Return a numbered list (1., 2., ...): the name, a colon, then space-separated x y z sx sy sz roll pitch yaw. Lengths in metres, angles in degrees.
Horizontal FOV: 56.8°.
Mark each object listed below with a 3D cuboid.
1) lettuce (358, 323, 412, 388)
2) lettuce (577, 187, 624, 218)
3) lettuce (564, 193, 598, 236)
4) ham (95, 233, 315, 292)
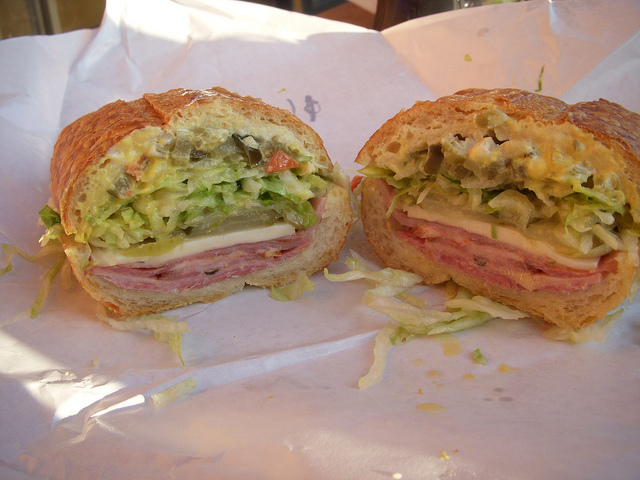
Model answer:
1. lettuce: 0.276 0.537 2.738 0.135 0.046 0.430 24 39 22
2. lettuce: 1.248 -0.160 2.613 0.222 0.129 0.098 17 42 13
3. lettuce: 1.144 -0.119 2.631 0.204 0.147 0.098 -5 5 7
4. ham: -0.715 0.124 3.176 1.180 0.278 0.672 -8 15 -36
